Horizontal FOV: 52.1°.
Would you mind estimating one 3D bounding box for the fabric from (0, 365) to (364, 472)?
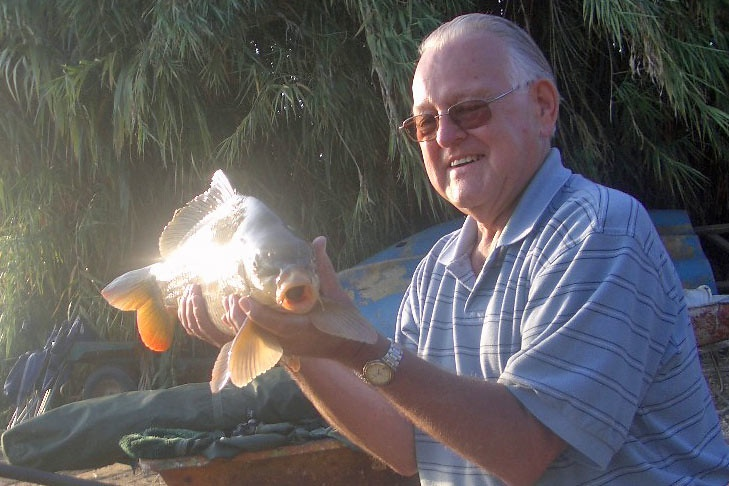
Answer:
[{"bbox_3d":[-1.241,1.237,5.129,1.233,0.327,0.892,-13,-1,-10],"label":"fabric"}]

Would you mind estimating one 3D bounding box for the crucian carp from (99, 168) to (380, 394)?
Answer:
[{"bbox_3d":[-0.838,0.197,3.919,1.550,1.040,0.774,-9,1,38],"label":"crucian carp"}]

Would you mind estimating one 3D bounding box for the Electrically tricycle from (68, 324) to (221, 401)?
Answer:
[{"bbox_3d":[-2.005,1.029,6.395,0.894,0.391,0.693,-5,-7,-11],"label":"Electrically tricycle"}]
